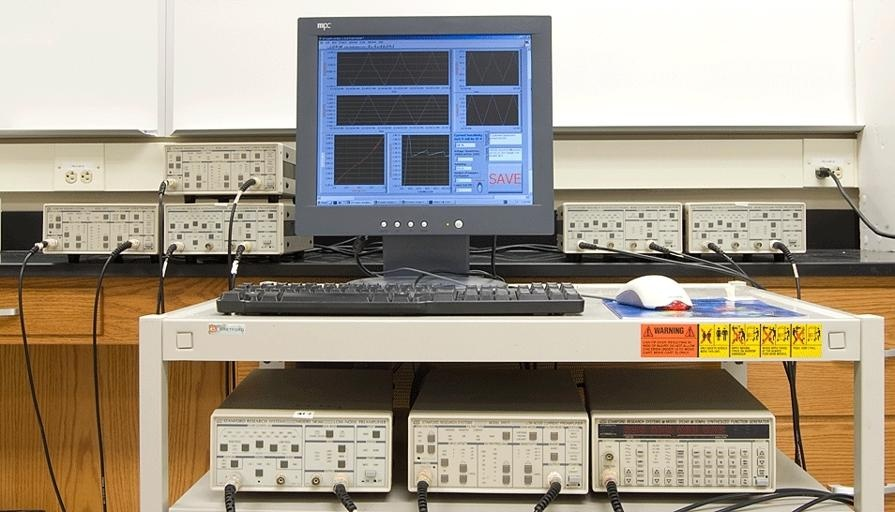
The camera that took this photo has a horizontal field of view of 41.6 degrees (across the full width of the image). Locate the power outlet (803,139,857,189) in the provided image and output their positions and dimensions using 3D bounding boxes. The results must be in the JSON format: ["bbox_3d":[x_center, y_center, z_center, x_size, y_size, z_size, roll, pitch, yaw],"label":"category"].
[{"bbox_3d":[1.783,-0.435,5.494,0.258,0.218,0.022,-1,-3,-1],"label":"power outlet"}]

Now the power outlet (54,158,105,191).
[{"bbox_3d":[-1.732,-0.379,5.542,0.280,0.180,0.142,0,0,1],"label":"power outlet"}]

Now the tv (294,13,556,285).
[{"bbox_3d":[-0.101,-0.530,4.800,1.032,0.877,0.217,0,-3,-8],"label":"tv"}]
